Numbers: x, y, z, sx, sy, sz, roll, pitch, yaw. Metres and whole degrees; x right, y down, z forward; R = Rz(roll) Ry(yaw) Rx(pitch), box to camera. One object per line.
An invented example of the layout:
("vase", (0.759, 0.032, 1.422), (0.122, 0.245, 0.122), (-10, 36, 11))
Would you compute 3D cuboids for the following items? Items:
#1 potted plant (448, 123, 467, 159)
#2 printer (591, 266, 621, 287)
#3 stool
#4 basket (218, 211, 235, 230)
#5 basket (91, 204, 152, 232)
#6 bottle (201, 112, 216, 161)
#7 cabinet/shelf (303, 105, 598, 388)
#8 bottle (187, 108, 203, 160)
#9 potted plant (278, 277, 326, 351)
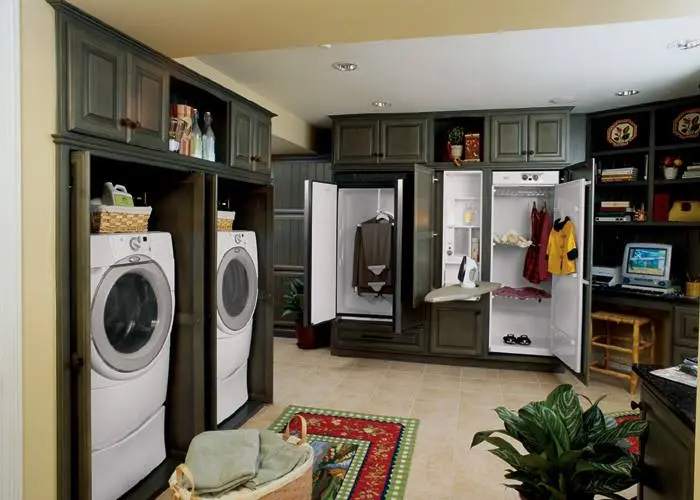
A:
("potted plant", (1.163, -1.187, 5.482), (0.179, 0.378, 0.227), (2, 8, 12))
("printer", (2.749, 0.219, 5.339), (0.212, 0.206, 0.272), (-5, 7, -43))
("stool", (2.618, 0.934, 4.662), (0.535, 0.817, 0.773), (-1, 3, 0))
("basket", (-1.016, -0.241, 4.017), (0.061, 0.160, 0.251), (1, 8, 7))
("basket", (-1.455, -0.201, 3.135), (0.166, 0.108, 0.242), (4, 5, 38))
("bottle", (-1.080, -0.877, 3.770), (0.094, 0.392, 0.328), (-2, 8, -15))
("cabinet/shelf", (1.181, -0.127, 5.450), (2.665, 2.749, 0.955), (3, 8, 28))
("bottle", (-1.125, -0.857, 3.599), (0.071, 0.356, 0.230), (-1, 8, -10))
("potted plant", (-0.589, 0.807, 6.301), (0.512, 0.849, 0.683), (-4, -7, 35))
